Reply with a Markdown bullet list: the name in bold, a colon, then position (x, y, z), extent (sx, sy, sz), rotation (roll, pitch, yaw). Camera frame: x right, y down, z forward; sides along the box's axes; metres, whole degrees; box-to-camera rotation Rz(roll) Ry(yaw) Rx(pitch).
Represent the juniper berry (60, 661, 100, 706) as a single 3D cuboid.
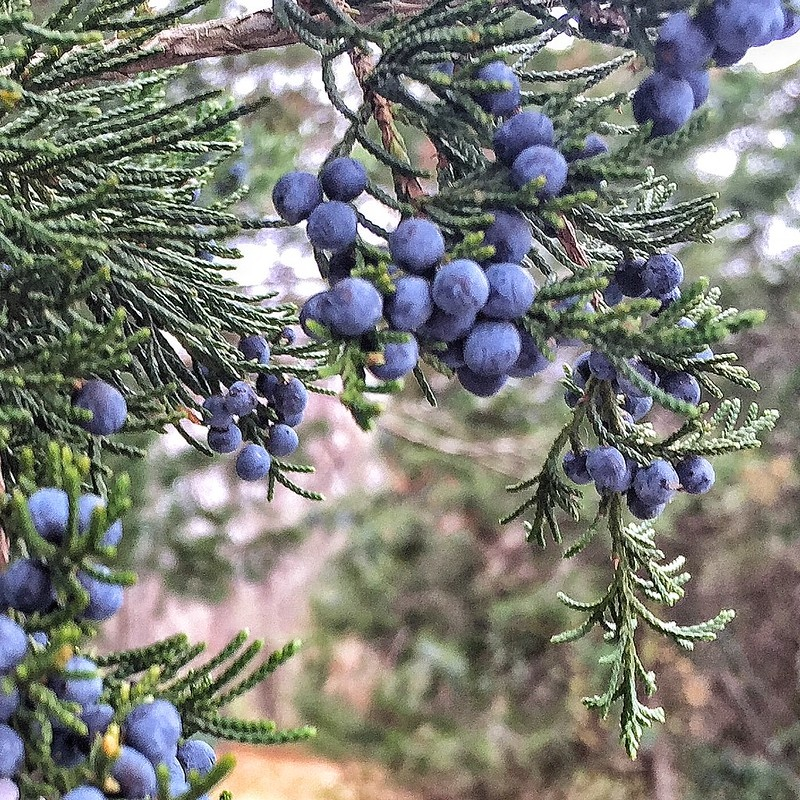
- **juniper berry**: position (-0.460, 0.415, 1.717), extent (0.053, 0.062, 0.078), rotation (-1, 90, 10)
